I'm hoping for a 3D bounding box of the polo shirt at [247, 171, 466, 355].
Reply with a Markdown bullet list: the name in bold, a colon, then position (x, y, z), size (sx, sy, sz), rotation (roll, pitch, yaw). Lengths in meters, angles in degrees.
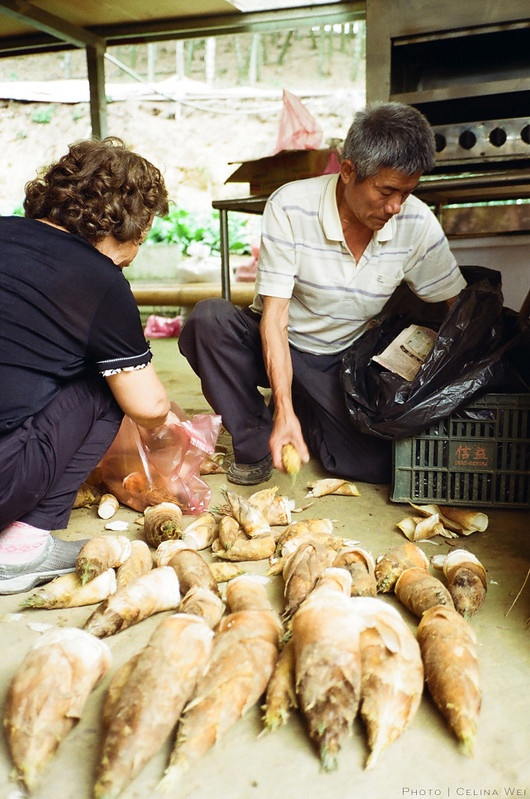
- **polo shirt**: position (0.280, -0.475, 2.251), size (0.815, 0.560, 0.402), rotation (1, 36, -16)
